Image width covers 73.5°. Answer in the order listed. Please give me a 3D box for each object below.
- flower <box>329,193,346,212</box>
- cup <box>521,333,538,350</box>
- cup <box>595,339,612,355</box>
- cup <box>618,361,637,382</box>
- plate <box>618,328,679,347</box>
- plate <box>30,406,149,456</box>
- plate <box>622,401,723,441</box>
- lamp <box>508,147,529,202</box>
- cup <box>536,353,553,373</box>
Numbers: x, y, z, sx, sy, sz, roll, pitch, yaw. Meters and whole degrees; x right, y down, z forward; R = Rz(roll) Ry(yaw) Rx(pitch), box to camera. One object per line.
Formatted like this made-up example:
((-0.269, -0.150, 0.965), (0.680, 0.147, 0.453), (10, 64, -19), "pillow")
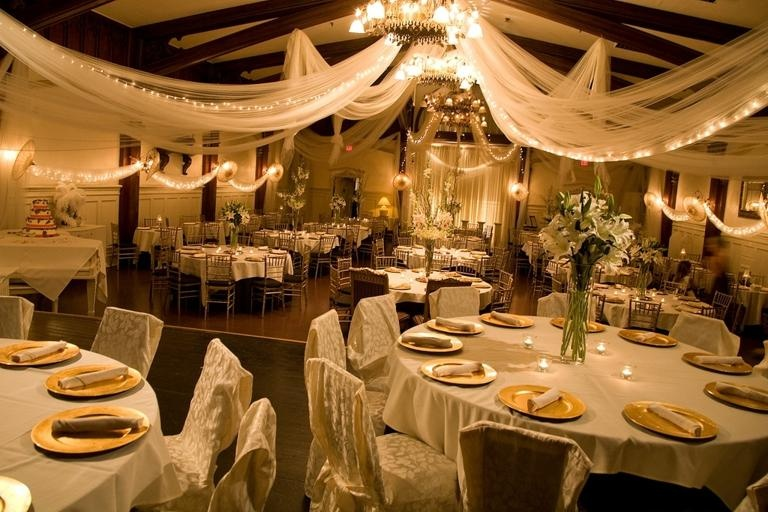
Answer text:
((-1.597, -1.825, 17.611), (0.635, 0.396, 0.865), (1, 7, 3), "flower")
((1.276, 0.740, 4.458), (0.110, 0.096, 0.122), (0, -1, 3), "cup")
((1.911, 0.796, 4.512), (0.105, 0.093, 0.120), (0, -1, -12), "cup")
((1.937, 0.912, 4.083), (0.111, 0.088, 0.116), (0, 1, 0), "cup")
((2.469, 0.764, 4.812), (0.504, 0.101, 0.368), (5, 1, 26), "plate")
((-1.835, 1.081, 3.115), (0.335, 0.054, 0.348), (9, 14, -11), "plate")
((1.930, 1.103, 3.473), (0.575, 0.169, 0.353), (4, 1, -1), "plate")
((4.680, -2.826, 17.857), (0.622, 1.855, 0.486), (4, 3, 14), "lamp")
((1.270, 0.844, 4.089), (0.127, 0.105, 0.116), (2, -1, 0), "cup")
